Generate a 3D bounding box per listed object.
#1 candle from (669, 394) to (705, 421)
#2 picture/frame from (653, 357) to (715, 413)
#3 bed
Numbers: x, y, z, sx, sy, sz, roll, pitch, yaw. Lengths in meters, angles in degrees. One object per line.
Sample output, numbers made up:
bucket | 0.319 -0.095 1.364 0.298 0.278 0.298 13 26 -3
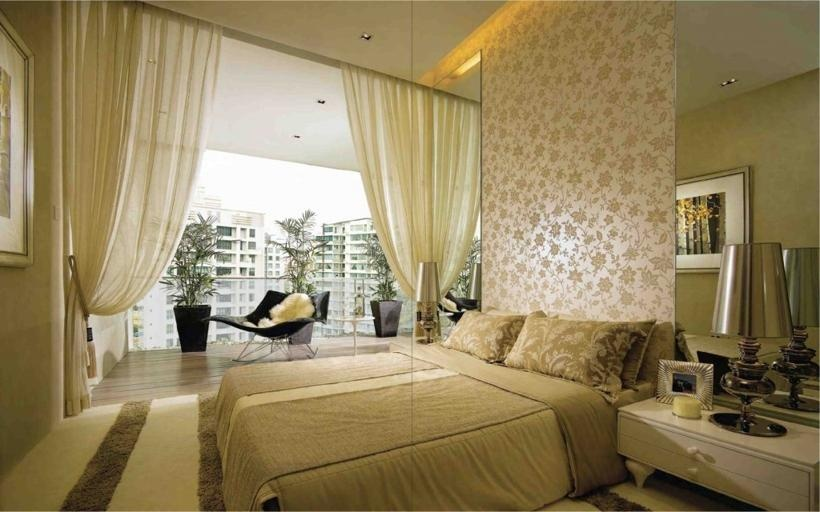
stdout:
candle | 1.845 1.005 3.338 0.161 0.098 0.158 -5 -4 19
picture/frame | 1.879 0.886 3.406 0.370 0.341 0.037 1 -13 35
bed | 0.153 1.091 3.301 2.092 0.700 1.623 3 -3 -19
